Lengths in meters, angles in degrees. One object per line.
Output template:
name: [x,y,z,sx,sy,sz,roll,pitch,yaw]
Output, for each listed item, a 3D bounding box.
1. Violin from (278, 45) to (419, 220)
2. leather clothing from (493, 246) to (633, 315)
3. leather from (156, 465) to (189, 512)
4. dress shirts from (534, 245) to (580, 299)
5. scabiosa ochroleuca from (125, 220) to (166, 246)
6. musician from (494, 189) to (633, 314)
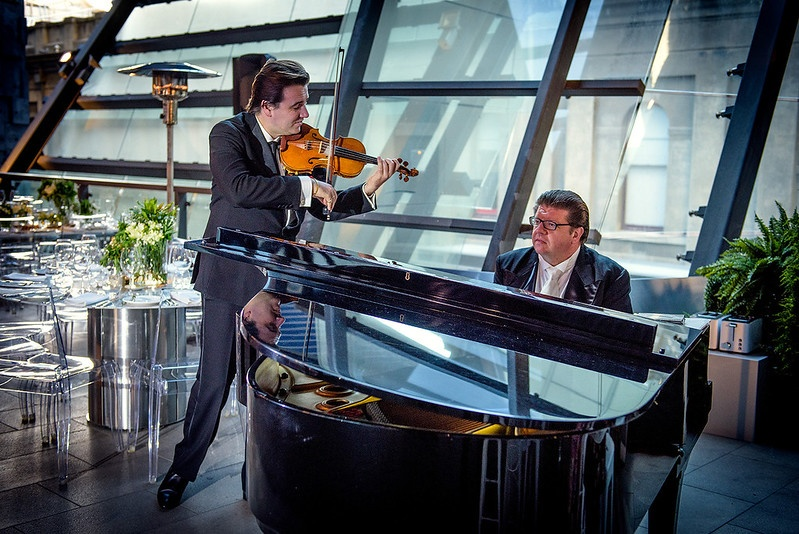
Violin: [-0.456,-0.716,4.156,1.267,0.516,0.218,6,-7,-37]
leather clothing: [0.946,0.083,3.768,0.404,0.316,0.224,15,-6,43]
leather: [-1.373,1.350,3.933,0.113,0.140,0.334,25,-4,-11]
dress shirts: [0.947,0.055,3.927,0.210,0.374,0.093,11,6,24]
scabiosa ochroleuca: [-1.795,-0.239,4.496,0.182,0.112,0.185,4,4,-3]
musician: [1.062,-0.114,4.252,0.864,0.872,0.511,9,-3,43]
